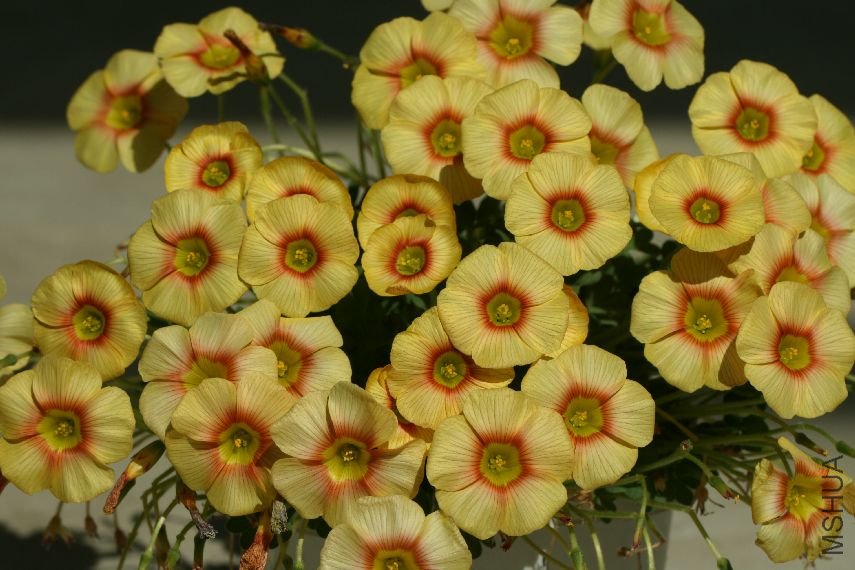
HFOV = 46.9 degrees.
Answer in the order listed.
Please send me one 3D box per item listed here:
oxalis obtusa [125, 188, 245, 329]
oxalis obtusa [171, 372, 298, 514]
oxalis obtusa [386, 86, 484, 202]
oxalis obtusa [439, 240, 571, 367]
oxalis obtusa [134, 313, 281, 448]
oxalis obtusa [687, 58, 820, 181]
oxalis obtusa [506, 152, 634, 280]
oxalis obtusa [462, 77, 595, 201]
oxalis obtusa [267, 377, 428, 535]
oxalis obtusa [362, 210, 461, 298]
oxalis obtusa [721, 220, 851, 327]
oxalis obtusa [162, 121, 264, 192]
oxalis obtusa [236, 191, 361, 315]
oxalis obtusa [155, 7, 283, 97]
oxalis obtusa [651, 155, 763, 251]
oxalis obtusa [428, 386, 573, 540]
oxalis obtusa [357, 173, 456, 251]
[{"bbox_3d":[-0.245,-0.029,0.997,0.125,0.044,0.135,-13,79,7],"label":"oxalis obtusa"},{"bbox_3d":[-0.193,0.130,0.950,0.123,0.041,0.138,-1,98,4],"label":"oxalis obtusa"},{"bbox_3d":[0.032,-0.157,1.022,0.124,0.046,0.123,-14,111,-23],"label":"oxalis obtusa"},{"bbox_3d":[0.075,0.024,0.964,0.127,0.042,0.116,36,74,6],"label":"oxalis obtusa"},{"bbox_3d":[-0.231,0.089,0.993,0.049,0.145,0.144,9,75,41],"label":"oxalis obtusa"},{"bbox_3d":[0.343,-0.180,1.047,0.137,0.025,0.121,13,73,-1],"label":"oxalis obtusa"},{"bbox_3d":[0.140,-0.078,0.997,0.116,0.132,0.040,-19,50,19],"label":"oxalis obtusa"},{"bbox_3d":[0.090,-0.170,1.046,0.164,0.163,0.072,-9,100,-18],"label":"oxalis obtusa"},{"bbox_3d":[-0.094,0.166,0.949,0.169,0.051,0.153,21,40,1],"label":"oxalis obtusa"},{"bbox_3d":[-0.018,-0.030,0.986,0.096,0.028,0.074,0,74,-5],"label":"oxalis obtusa"},{"bbox_3d":[0.354,-0.013,1.013,0.101,0.041,0.106,-30,82,-44],"label":"oxalis obtusa"},{"bbox_3d":[-0.226,-0.126,1.055,0.103,0.107,0.041,-11,69,-34],"label":"oxalis obtusa"},{"bbox_3d":[-0.128,-0.029,0.988,0.119,0.038,0.116,19,73,1],"label":"oxalis obtusa"},{"bbox_3d":[-0.231,-0.249,1.069,0.113,0.036,0.114,-40,75,-10],"label":"oxalis obtusa"},{"bbox_3d":[0.286,-0.087,1.007,0.106,0.116,0.051,13,70,-2],"label":"oxalis obtusa"},{"bbox_3d":[0.065,0.172,0.961,0.147,0.045,0.142,-14,62,7],"label":"oxalis obtusa"},{"bbox_3d":[-0.017,-0.071,1.013,0.100,0.111,0.030,-6,53,0],"label":"oxalis obtusa"}]
